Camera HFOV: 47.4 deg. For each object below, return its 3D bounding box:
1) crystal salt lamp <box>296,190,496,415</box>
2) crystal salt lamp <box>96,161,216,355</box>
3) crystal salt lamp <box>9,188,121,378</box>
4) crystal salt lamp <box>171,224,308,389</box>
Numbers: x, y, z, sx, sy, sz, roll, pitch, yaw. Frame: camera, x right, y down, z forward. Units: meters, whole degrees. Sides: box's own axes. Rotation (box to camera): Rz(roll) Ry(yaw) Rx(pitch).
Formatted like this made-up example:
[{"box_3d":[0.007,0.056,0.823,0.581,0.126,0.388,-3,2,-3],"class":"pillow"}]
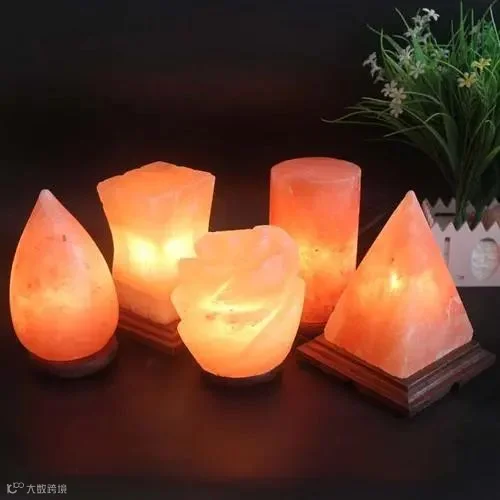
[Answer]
[{"box_3d":[0.298,0.070,1.013,0.267,0.338,0.279,-29,44,-33],"class":"crystal salt lamp"},{"box_3d":[-0.136,0.038,1.206,0.282,0.334,0.270,1,13,-10],"class":"crystal salt lamp"},{"box_3d":[-0.348,0.052,1.045,0.202,0.315,0.202,10,28,19],"class":"crystal salt lamp"},{"box_3d":[-0.011,0.097,1.039,0.240,0.269,0.253,13,25,28],"class":"crystal salt lamp"}]
